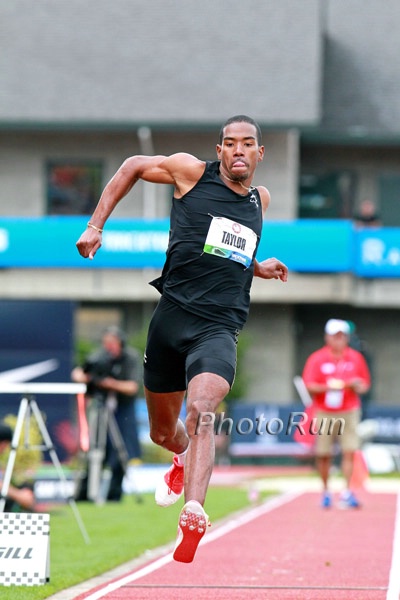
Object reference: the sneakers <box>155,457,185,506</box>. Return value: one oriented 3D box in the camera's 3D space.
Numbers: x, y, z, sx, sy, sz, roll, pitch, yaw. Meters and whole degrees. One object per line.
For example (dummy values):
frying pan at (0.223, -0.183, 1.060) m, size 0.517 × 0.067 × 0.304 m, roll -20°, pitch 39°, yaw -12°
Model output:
sneakers at (-0.160, 1.020, 5.747) m, size 0.132 × 0.239 × 0.354 m, roll 21°, pitch 11°, yaw -5°

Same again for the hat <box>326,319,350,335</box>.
hat at (1.181, 0.219, 8.881) m, size 0.173 × 0.105 × 0.148 m, roll 3°, pitch -10°, yaw 9°

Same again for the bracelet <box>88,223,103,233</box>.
bracelet at (-0.496, -0.340, 4.944) m, size 0.057 × 0.026 × 0.048 m, roll 30°, pitch 8°, yaw -1°

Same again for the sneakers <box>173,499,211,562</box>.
sneakers at (-0.045, 0.970, 4.438) m, size 0.111 × 0.307 × 0.132 m, roll 13°, pitch 19°, yaw -5°

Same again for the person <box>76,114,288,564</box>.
person at (-0.109, 0.189, 5.031) m, size 0.779 × 2.109 × 1.315 m, roll 0°, pitch 9°, yaw 11°
